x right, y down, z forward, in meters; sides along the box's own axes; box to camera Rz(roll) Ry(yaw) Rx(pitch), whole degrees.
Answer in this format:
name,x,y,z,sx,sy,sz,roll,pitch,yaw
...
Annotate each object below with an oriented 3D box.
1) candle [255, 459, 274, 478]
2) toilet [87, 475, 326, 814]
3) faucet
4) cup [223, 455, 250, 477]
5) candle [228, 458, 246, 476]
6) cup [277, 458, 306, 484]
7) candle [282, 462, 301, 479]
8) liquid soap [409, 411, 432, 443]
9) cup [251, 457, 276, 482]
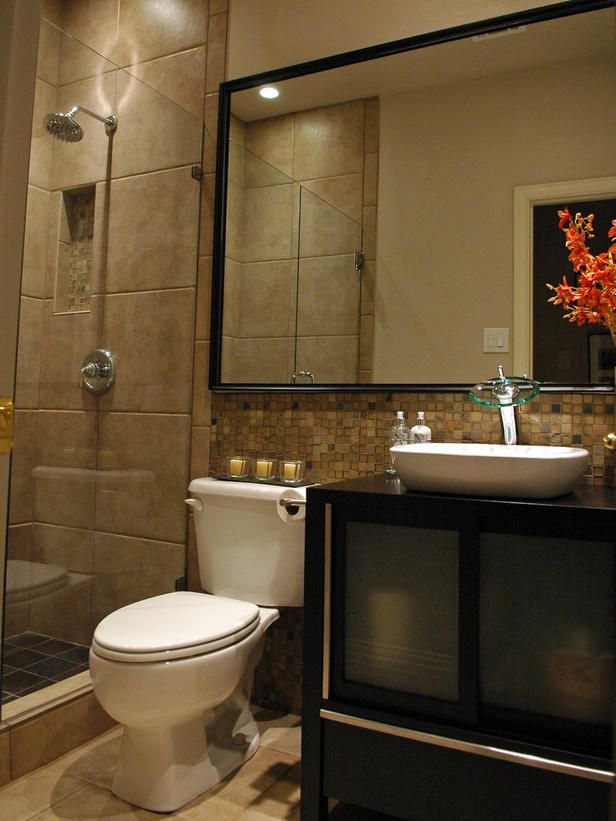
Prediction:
name,x,y,z,sx,sy,sz,roll,pitch,yaw
candle,-0.124,0.174,2.036,0.043,0.058,0.046,0,-6,27
toilet,-0.332,0.595,1.904,0.505,0.868,0.727,-5,-13,32
faucet,0.493,-0.013,1.755,0.156,0.204,0.202,0,-1,13
cup,-0.218,0.172,2.091,0.050,0.055,0.059,0,-6,8
candle,-0.209,0.171,2.065,0.044,0.062,0.049,0,-7,0
cup,-0.051,0.181,2.001,0.053,0.064,0.061,-1,-3,8
candle,-0.047,0.174,1.980,0.042,0.050,0.046,3,-8,-8
liquid soap,0.295,0.048,1.808,0.048,0.081,0.092,0,-1,-5
cup,-0.132,0.174,2.039,0.052,0.066,0.055,1,6,0
